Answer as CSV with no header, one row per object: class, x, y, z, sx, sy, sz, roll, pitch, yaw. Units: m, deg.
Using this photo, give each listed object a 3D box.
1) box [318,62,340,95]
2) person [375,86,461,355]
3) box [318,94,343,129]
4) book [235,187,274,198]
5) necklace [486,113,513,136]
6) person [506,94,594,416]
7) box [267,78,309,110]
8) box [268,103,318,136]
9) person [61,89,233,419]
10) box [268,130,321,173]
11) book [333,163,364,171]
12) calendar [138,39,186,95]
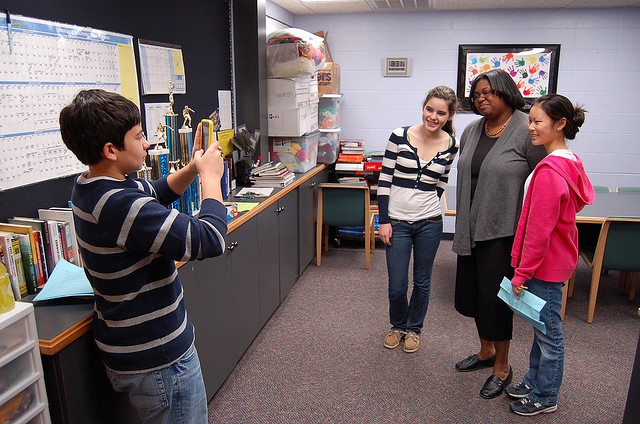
box,0.089,-1.534,5.200,0.300,0.388,0.554,2,20,6
person,0.733,0.226,3.238,0.581,1.718,0.316,-2,15,1
box,0.096,-1.159,5.126,0.399,0.311,0.349,5,12,27
book,-0.563,-0.168,3.711,0.289,0.032,0.321,-2,15,2
necklace,1.154,-0.557,2.753,0.008,0.159,0.121,28,45,-2
person,1.383,0.323,2.616,0.412,1.986,0.337,4,17,22
box,-0.300,-1.139,4.341,0.492,0.262,0.302,-2,4,13
box,-0.282,-0.990,4.598,0.396,0.251,0.759,4,19,15
person,-0.654,0.235,1.793,0.596,1.448,0.301,-9,17,-23
box,-0.286,-0.631,4.555,0.377,0.322,0.508,2,8,11
book,0.358,-0.541,5.228,0.344,0.087,0.065,-2,15,3
calendar,-1.129,-1.031,3.101,0.500,0.344,0.039,16,30,32
